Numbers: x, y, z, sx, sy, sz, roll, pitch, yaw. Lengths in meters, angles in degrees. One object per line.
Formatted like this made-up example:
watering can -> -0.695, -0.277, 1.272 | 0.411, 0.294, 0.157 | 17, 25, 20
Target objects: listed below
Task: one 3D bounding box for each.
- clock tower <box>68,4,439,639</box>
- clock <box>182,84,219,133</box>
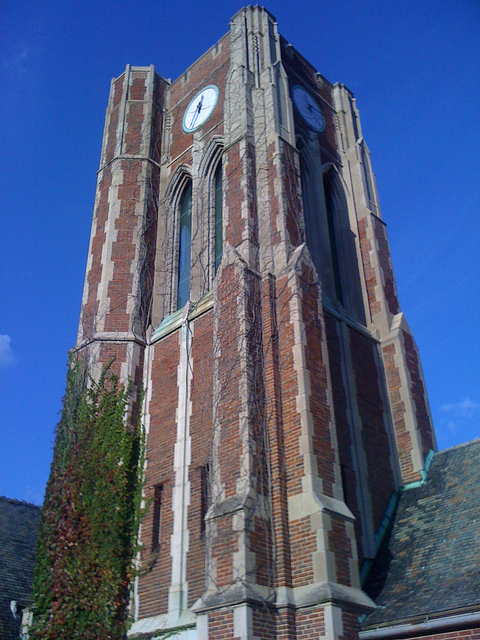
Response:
clock tower -> 0.311, -1.408, 16.139 | 7.210, 16.856, 4.418 | 6, -37, -12
clock -> -1.127, -5.840, 19.793 | 0.118, 1.409, 1.355 | 34, -63, 14
